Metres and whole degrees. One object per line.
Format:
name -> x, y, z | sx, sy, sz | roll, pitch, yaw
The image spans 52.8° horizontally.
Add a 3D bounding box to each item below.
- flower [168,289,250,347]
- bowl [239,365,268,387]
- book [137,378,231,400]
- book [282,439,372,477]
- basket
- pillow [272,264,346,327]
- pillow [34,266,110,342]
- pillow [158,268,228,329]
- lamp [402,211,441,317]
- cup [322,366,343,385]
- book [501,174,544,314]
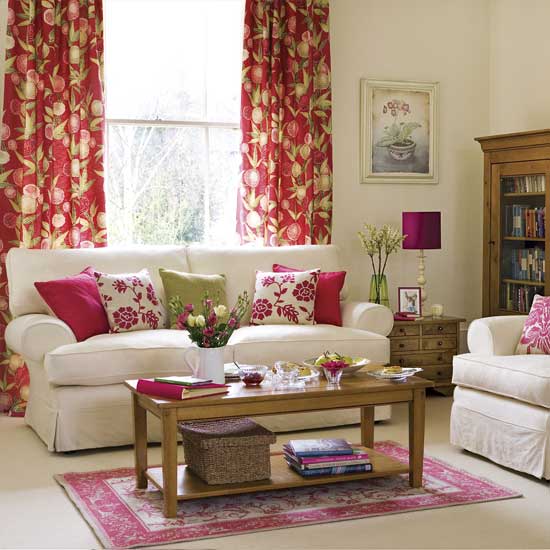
flower -> -0.348, 0.217, 2.759 | 0.345, 0.237, 0.310 | 5, -5, -41
bowl -> -0.089, 0.408, 2.260 | 0.087, 0.044, 0.081 | -1, -6, 0
book -> -0.349, 0.420, 2.019 | 0.343, 0.053, 0.202 | 0, -3, -3
book -> 0.206, 0.726, 2.224 | 0.184, 0.053, 0.170 | 0, 0, -15
basket -> -0.225, 0.687, 2.231 | 0.224, 0.120, 0.326 | 1, 0, -24
pillow -> 0.220, 0.152, 3.730 | 0.448, 0.348, 0.155 | 3, -15, 5
pillow -> -1.163, 0.194, 3.223 | 0.266, 0.366, 0.345 | -2, -3, 41
pillow -> -0.478, 0.136, 3.121 | 0.393, 0.312, 0.137 | -7, -19, -36
lamp -> 1.192, -0.125, 4.466 | 0.289, 0.846, 0.558 | -1, -2, 14
cup -> 0.237, 0.404, 2.233 | 0.071, 0.052, 0.073 | -2, -3, 0
book -> 1.904, -0.238, 4.255 | 0.104, 1.058, 0.444 | 1, -2, -23
